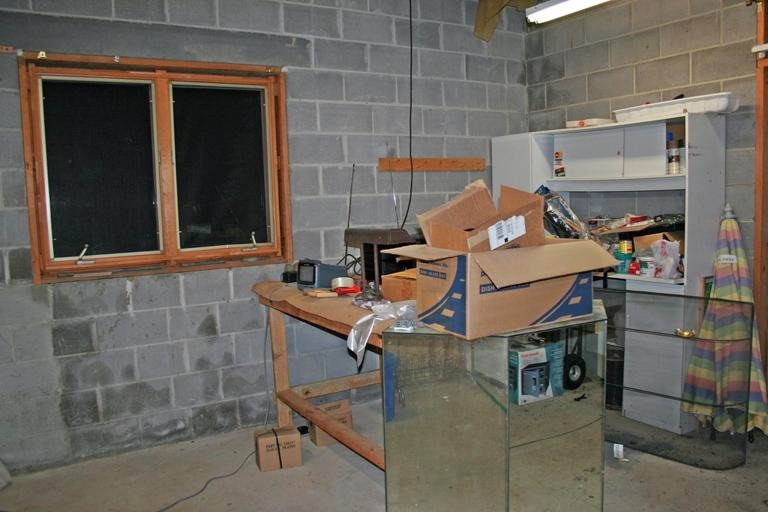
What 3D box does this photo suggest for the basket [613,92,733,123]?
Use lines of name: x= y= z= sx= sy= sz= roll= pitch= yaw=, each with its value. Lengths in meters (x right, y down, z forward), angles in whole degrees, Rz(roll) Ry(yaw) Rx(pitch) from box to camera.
basket: x=2.295 y=-1.147 z=4.890 sx=0.542 sy=0.102 sz=0.319 roll=-2 pitch=6 yaw=44

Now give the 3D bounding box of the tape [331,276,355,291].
tape: x=-0.291 y=0.202 z=4.460 sx=0.170 sy=0.088 sz=0.087 roll=-4 pitch=8 yaw=-5

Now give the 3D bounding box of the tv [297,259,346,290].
tv: x=-0.471 y=0.129 z=4.596 sx=0.266 sy=0.184 sz=0.252 roll=-1 pitch=1 yaw=-42

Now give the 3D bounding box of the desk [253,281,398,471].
desk: x=-0.479 y=0.901 z=4.619 sx=1.319 sy=0.777 sz=0.810 roll=10 pitch=14 yaw=44

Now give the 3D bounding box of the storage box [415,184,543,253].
storage box: x=0.540 y=-0.165 z=3.609 sx=0.646 sy=0.289 sz=0.549 roll=-27 pitch=24 yaw=-32

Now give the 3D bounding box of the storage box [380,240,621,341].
storage box: x=0.738 y=0.153 z=3.758 sx=1.328 sy=0.468 sz=0.906 roll=-3 pitch=2 yaw=-28

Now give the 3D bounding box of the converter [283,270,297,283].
converter: x=-0.743 y=0.173 z=4.952 sx=0.104 sy=0.062 sz=0.102 roll=5 pitch=9 yaw=21

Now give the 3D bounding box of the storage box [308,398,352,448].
storage box: x=-0.408 y=1.288 z=4.726 sx=0.333 sy=0.299 sz=0.174 roll=-10 pitch=28 yaw=-25

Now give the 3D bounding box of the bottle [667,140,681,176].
bottle: x=2.279 y=-0.763 z=4.904 sx=0.092 sy=0.264 sz=0.157 roll=0 pitch=8 yaw=23
